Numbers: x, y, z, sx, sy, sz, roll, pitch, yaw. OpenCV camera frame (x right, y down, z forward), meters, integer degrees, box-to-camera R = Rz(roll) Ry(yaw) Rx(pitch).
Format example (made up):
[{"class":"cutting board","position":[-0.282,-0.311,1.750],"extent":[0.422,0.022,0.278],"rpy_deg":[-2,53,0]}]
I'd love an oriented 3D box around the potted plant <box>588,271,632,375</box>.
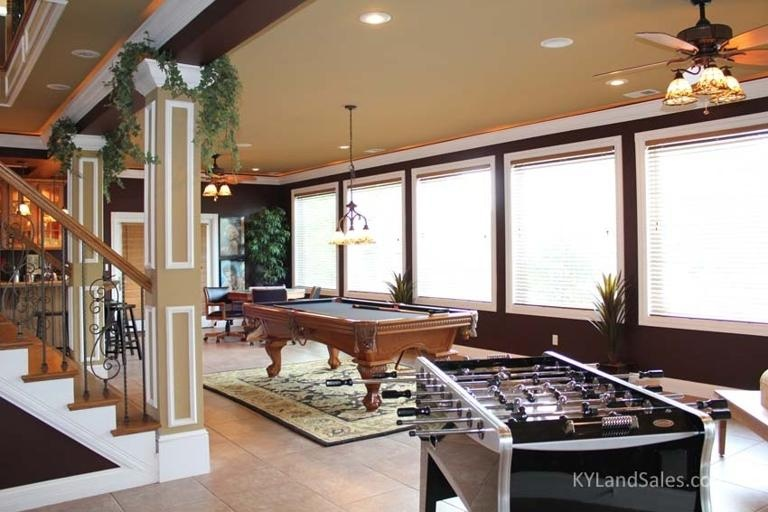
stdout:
[{"class":"potted plant","position":[2.857,0.801,6.947],"extent":[0.446,1.217,0.718],"rpy_deg":[1,5,17]}]

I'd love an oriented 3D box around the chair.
[{"class":"chair","position":[-2.828,0.981,10.309],"extent":[1.549,0.678,1.452],"rpy_deg":[0,3,-30]}]

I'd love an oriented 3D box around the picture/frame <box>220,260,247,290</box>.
[{"class":"picture/frame","position":[-3.236,0.388,11.586],"extent":[0.733,0.864,0.096],"rpy_deg":[1,-4,-39]}]

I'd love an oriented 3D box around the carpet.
[{"class":"carpet","position":[-0.935,1.672,6.856],"extent":[1.737,0.030,2.884],"rpy_deg":[-3,5,-43]}]

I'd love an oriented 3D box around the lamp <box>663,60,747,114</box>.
[{"class":"lamp","position":[2.512,-1.356,4.285],"extent":[0.618,0.238,0.583],"rpy_deg":[-7,12,-32]}]
